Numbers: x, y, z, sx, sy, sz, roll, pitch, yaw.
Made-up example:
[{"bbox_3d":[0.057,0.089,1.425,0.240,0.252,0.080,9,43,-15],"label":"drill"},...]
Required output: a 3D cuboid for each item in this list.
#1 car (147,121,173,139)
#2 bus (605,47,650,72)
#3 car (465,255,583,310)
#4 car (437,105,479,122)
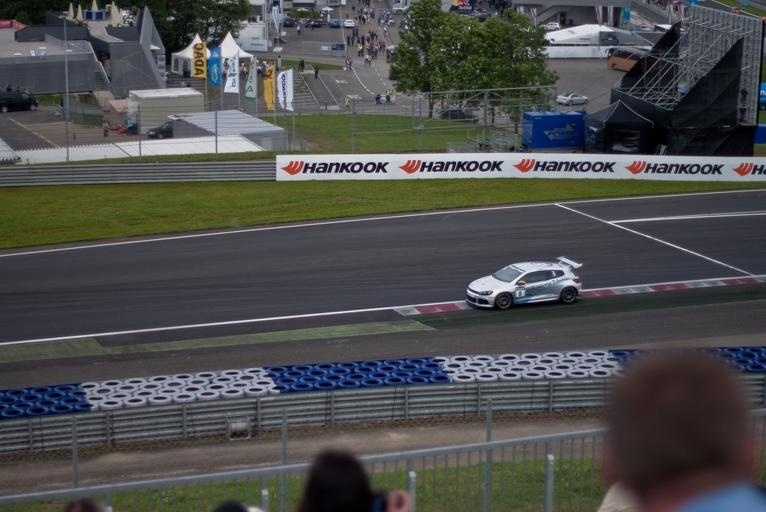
[{"bbox_3d":[-14.818,-8.417,122.191,2.015,0.741,1.075,0,10,-6],"label":"car"},{"bbox_3d":[19.950,-16.114,150.213,1.182,1.928,4.178,-2,17,-14],"label":"bus"},{"bbox_3d":[7.705,1.378,96.892,5.354,1.575,2.795,-1,11,-7],"label":"car"},{"bbox_3d":[4.904,-9.057,115.975,2.011,0.588,1.133,-2,13,-15],"label":"car"}]
